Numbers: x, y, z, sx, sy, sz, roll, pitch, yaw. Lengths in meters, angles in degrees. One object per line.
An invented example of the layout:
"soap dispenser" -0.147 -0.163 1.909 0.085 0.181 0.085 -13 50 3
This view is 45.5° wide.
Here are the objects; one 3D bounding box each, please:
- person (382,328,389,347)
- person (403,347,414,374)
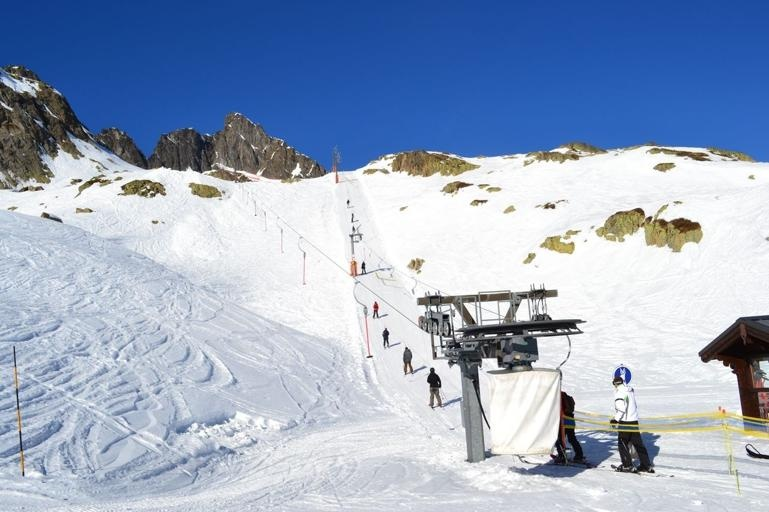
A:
"person" 0.101 5.962 66.681 0.407 1.337 1.206 2 -3 -1
"person" 1.600 7.151 62.402 0.645 1.780 1.328 2 -3 0
